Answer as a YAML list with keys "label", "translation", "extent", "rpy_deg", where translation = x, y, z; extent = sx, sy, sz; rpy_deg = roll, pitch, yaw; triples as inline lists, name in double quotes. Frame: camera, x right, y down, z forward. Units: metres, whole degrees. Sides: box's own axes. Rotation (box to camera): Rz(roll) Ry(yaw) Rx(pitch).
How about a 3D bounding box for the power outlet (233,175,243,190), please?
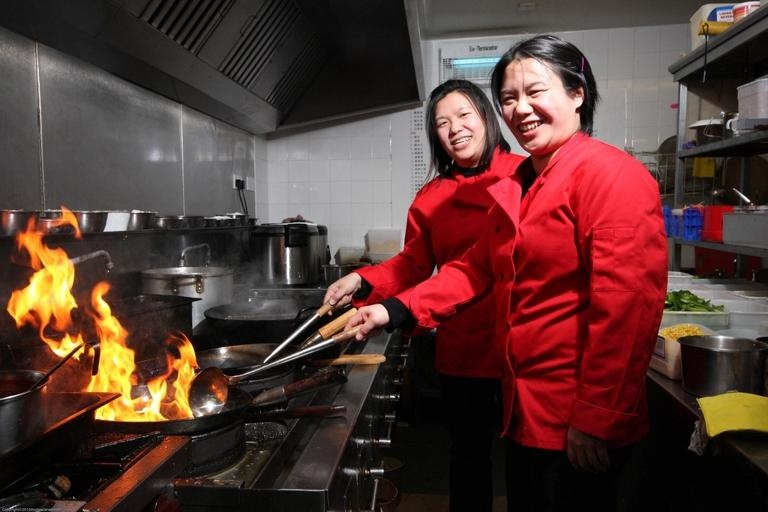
- label: "power outlet"
  translation: [-1.018, -0.513, 3.754]
  extent: [0.077, 0.088, 0.131]
  rpy_deg: [-1, 4, 0]
